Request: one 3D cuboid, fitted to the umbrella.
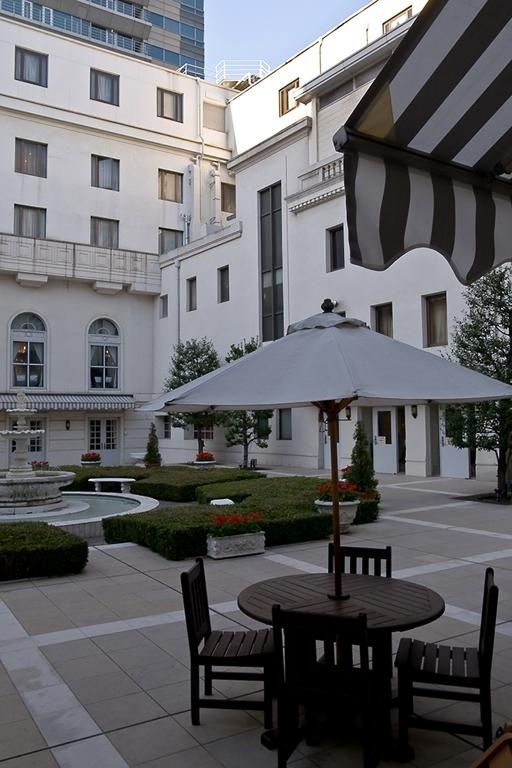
[{"bbox_3d":[0.450,0.039,4.720,1.925,1.578,1.939,-1,-2,-13],"label":"umbrella"}]

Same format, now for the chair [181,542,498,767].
[{"bbox_3d":[0.285,1.529,3.911,1.307,0.658,1.337,-1,0,28],"label":"chair"}]

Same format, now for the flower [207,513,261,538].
[{"bbox_3d":[-0.281,1.905,9.480,0.453,0.196,0.325,-3,1,-14],"label":"flower"}]

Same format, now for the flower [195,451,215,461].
[{"bbox_3d":[-2.036,2.818,26.555,0.517,0.346,0.504,-3,-3,38],"label":"flower"}]
